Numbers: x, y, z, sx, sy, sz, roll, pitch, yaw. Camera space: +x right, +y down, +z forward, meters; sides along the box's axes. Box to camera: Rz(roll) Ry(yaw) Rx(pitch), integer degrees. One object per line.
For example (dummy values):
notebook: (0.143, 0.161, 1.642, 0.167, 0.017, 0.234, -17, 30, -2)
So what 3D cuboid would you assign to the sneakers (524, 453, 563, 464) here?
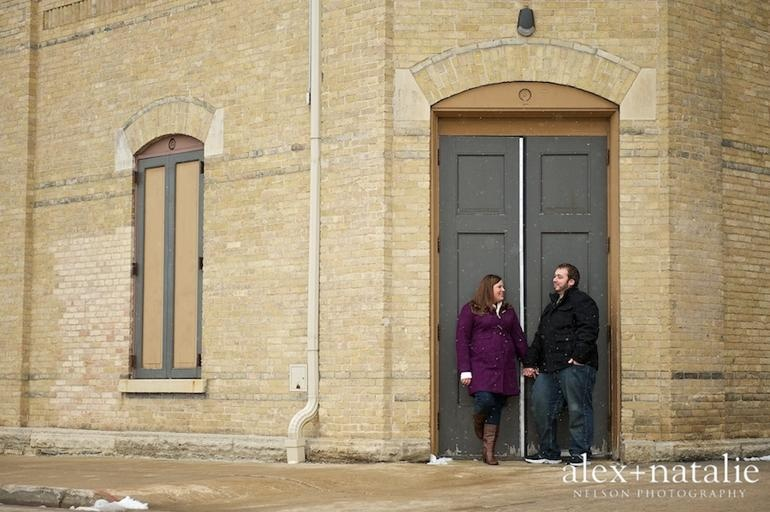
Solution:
sneakers: (2.485, 3.161, 20.674, 0.566, 0.225, 0.191, 1, -8, 13)

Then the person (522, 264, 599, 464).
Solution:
person: (2.793, 1.694, 20.615, 0.819, 3.042, 1.153, 7, -17, -28)

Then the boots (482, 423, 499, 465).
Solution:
boots: (1.659, 2.938, 20.565, 0.241, 0.626, 0.250, -2, -15, 3)

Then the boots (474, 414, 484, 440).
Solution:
boots: (1.487, 2.694, 20.749, 0.158, 0.384, 0.297, -2, -3, 11)
